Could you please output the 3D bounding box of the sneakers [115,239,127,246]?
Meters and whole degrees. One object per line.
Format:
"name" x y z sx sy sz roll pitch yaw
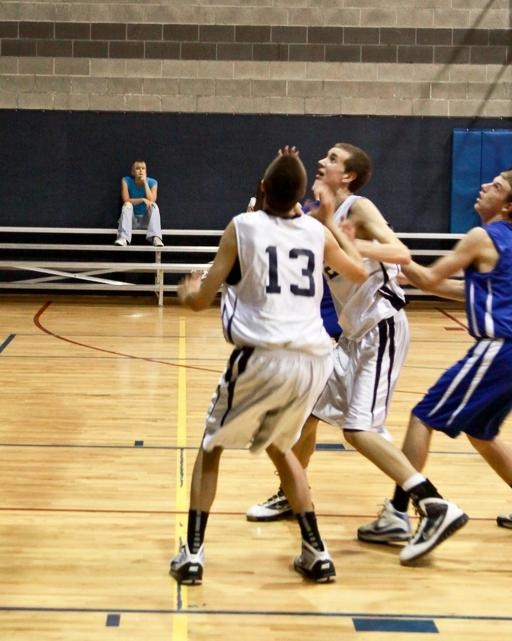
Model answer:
"sneakers" -1.446 -0.798 9.811 0.120 0.078 0.204 1 10 -9

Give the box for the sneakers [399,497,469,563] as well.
"sneakers" 0.650 0.809 3.433 0.122 0.300 0.222 -6 12 -42

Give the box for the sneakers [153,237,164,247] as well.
"sneakers" -1.053 -0.806 9.840 0.089 0.089 0.183 0 10 -13

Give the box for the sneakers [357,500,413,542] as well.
"sneakers" 0.528 0.845 3.799 0.286 0.210 0.100 1 -5 7

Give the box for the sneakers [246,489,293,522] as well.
"sneakers" 0.060 0.823 3.964 0.210 0.098 0.090 5 -10 -36

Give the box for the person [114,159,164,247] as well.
"person" -1.265 -1.230 9.965 0.490 0.892 0.610 1 9 -7

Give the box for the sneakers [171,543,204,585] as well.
"sneakers" -0.260 0.894 3.411 0.114 0.144 0.310 6 -8 -13

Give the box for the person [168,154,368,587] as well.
"person" 0.045 0.192 3.269 0.667 1.534 0.346 2 9 -2
